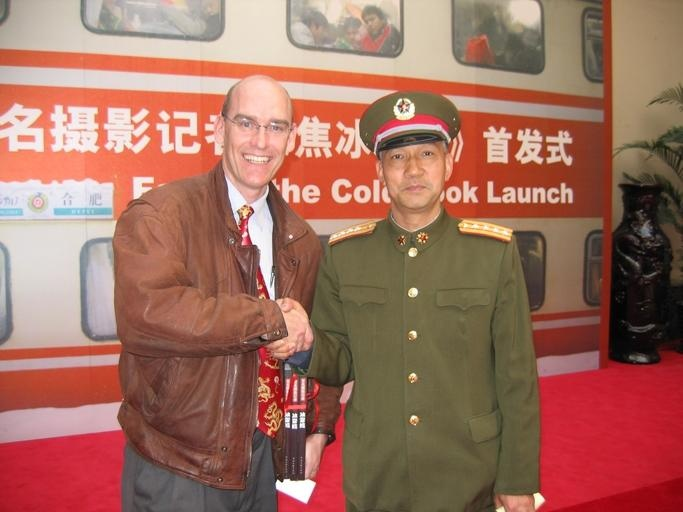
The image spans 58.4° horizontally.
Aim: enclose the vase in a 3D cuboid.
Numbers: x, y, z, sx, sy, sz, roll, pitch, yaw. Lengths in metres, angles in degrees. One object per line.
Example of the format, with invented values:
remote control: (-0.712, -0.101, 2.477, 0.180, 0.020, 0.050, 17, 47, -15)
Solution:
vase: (3.204, 0.149, 6.490, 0.476, 1.692, 0.524, 0, 5, 14)
